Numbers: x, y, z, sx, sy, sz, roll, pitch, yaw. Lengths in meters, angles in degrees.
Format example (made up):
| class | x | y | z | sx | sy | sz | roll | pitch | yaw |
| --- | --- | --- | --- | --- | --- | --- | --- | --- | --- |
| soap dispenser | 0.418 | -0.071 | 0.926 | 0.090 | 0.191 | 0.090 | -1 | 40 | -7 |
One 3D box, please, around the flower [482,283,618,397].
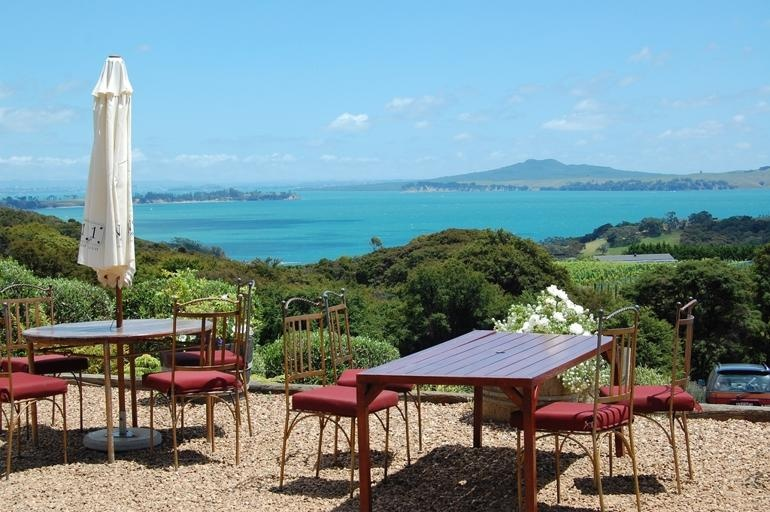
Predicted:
| class | x | y | z | sx | sy | sz | roll | pitch | yaw |
| --- | --- | --- | --- | --- | --- | --- | --- | --- | --- |
| flower | 2.067 | 0.854 | 8.391 | 1.237 | 1.150 | 1.355 | -3 | 7 | -36 |
